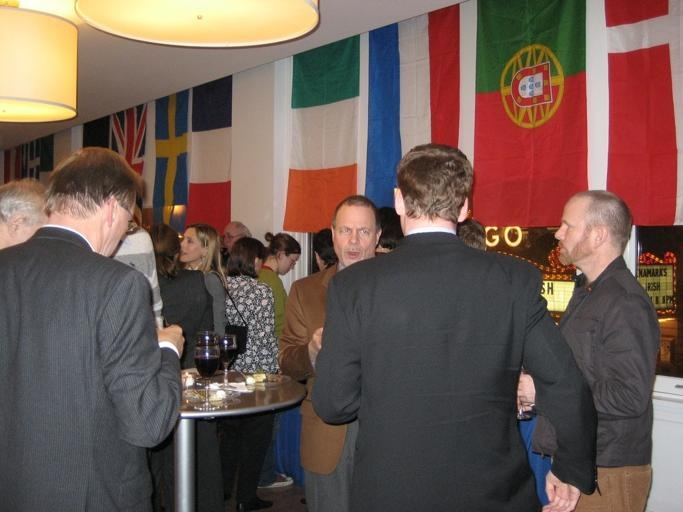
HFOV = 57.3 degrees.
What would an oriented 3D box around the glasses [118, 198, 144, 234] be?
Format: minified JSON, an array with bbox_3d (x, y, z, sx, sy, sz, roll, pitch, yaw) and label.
[{"bbox_3d":[-0.867,-0.170,2.610,0.055,0.089,0.414,-22,0,-10],"label":"glasses"}]

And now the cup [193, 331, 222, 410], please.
[{"bbox_3d":[-0.609,0.494,2.921,0.112,0.261,0.312,-3,2,-12],"label":"cup"}]

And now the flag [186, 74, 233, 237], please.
[{"bbox_3d":[-1.321,-1.013,6.352,0.697,1.253,0.169,-1,2,44],"label":"flag"}]

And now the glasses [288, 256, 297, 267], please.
[{"bbox_3d":[-0.379,0.025,4.820,0.071,0.021,0.067,-50,-17,9],"label":"glasses"}]

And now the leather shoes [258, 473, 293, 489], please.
[{"bbox_3d":[-0.462,1.619,4.509,0.223,0.111,0.086,-2,1,-24],"label":"leather shoes"}]
